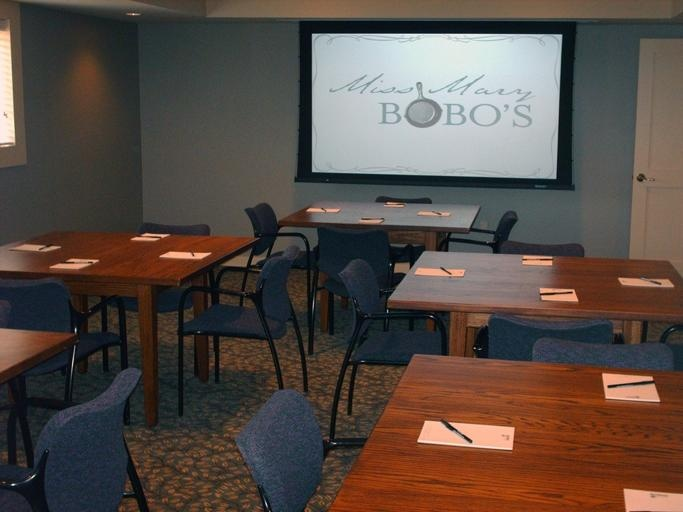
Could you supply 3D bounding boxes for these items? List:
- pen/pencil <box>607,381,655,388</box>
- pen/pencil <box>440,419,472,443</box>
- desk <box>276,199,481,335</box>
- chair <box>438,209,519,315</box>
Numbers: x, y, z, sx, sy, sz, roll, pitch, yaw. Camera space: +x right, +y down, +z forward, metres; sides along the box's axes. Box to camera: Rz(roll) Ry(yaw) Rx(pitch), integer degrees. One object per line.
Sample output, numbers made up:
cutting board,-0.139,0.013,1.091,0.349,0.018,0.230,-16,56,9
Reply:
pen/pencil,1.027,0.456,1.985,0.112,0.009,0.018,-9,15,-1
pen/pencil,0.343,0.520,1.665,0.026,0.016,0.118,-12,13,-23
desk,0.344,-0.052,5.568,1.691,0.786,1.577,5,15,12
chair,1.483,-0.183,5.725,0.843,0.782,0.639,6,18,12
